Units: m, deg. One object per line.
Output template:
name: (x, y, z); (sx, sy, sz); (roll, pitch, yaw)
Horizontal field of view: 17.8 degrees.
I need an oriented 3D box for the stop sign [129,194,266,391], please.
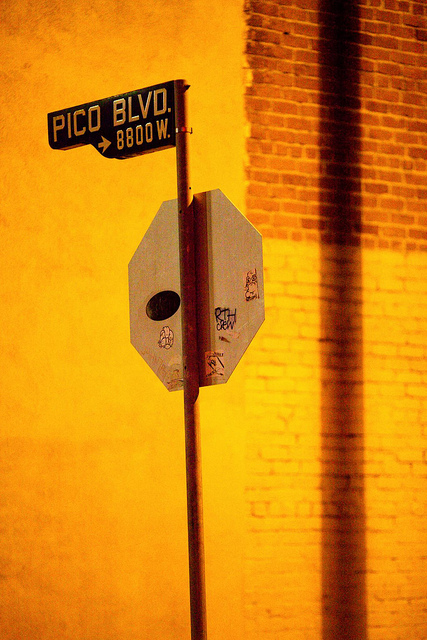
stop sign: (-0.057, -0.087, 5.924); (0.815, 1.268, 0.049); (-5, -8, 31)
